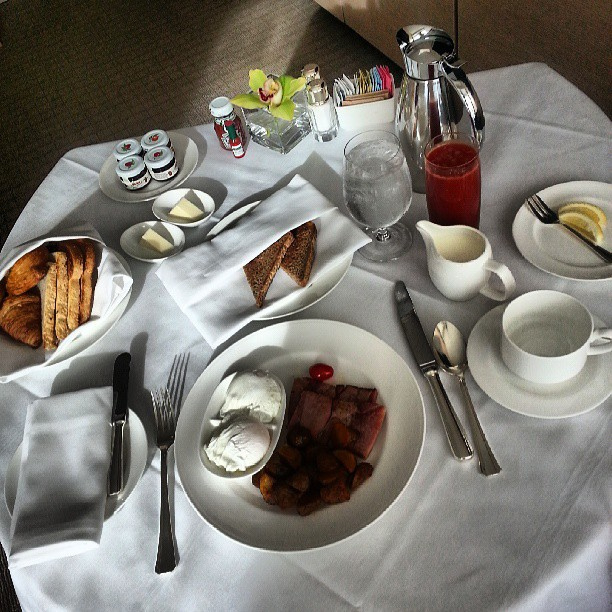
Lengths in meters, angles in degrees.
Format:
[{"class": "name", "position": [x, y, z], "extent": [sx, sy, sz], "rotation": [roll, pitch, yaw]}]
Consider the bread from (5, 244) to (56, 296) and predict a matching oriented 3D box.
[{"class": "bread", "position": [-0.505, -0.063, 0.996], "extent": [0.104, 0.071, 0.025], "rotation": [-61, 31, -4]}]

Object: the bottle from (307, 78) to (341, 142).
[{"class": "bottle", "position": [0.037, -0.412, 1.163], "extent": [0.052, 0.128, 0.051], "rotation": [-6, 48, 7]}]

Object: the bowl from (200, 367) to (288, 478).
[{"class": "bowl", "position": [-0.084, 0.169, 0.765], "extent": [0.102, 0.063, 0.193], "rotation": [3, 38, 6]}]

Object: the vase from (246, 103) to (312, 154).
[{"class": "vase", "position": [-0.067, -0.393, 1.223], "extent": [0.110, 0.079, 0.122], "rotation": [30, 65, 25]}]

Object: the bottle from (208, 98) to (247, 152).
[{"class": "bottle", "position": [-0.174, -0.399, 1.218], "extent": [0.055, 0.120, 0.073], "rotation": [3, 54, 16]}]

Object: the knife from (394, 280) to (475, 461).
[{"class": "knife", "position": [0.179, 0.094, 0.792], "extent": [0.035, 0.020, 0.380], "rotation": [-8, 55, 1]}]

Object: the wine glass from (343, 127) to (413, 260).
[{"class": "wine glass", "position": [0.123, -0.184, 0.934], "extent": [0.091, 0.191, 0.109], "rotation": [-19, 43, -4]}]

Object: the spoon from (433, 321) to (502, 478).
[{"class": "spoon", "position": [0.222, 0.106, 0.763], "extent": [0.036, 0.031, 0.254], "rotation": [-11, 56, 9]}]

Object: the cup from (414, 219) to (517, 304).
[{"class": "cup", "position": [0.239, -0.055, 0.858], "extent": [0.092, 0.117, 0.167], "rotation": [-30, 44, -26]}]

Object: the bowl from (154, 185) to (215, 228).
[{"class": "bowl", "position": [-0.255, -0.209, 1.125], "extent": [0.087, 0.041, 0.101], "rotation": [33, 49, 19]}]
